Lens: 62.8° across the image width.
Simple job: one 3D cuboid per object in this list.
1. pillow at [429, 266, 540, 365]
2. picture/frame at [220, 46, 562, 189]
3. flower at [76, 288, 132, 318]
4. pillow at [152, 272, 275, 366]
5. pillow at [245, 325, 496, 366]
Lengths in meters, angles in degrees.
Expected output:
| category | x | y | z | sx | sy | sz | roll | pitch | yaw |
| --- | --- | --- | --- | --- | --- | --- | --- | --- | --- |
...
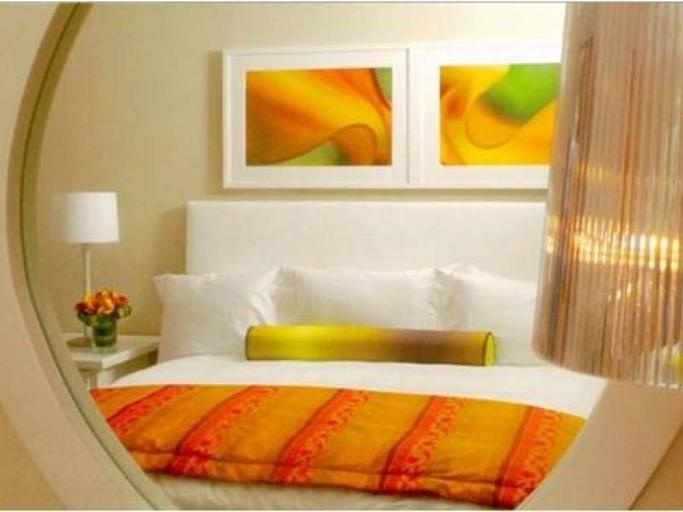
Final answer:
| category | x | y | z | sx | sy | sz | roll | pitch | yaw |
| --- | --- | --- | --- | --- | --- | --- | --- | --- | --- |
| pillow | 0.473 | 0.159 | 1.808 | 0.342 | 0.356 | 0.121 | 6 | -36 | 5 |
| picture/frame | 0.170 | -0.504 | 2.058 | 1.194 | 0.542 | 0.204 | 0 | 2 | 7 |
| flower | -0.728 | 0.127 | 1.700 | 0.109 | 0.070 | 0.108 | 3 | 0 | 8 |
| pillow | -0.412 | 0.213 | 1.848 | 0.285 | 0.208 | 0.102 | -2 | -22 | 2 |
| pillow | 0.073 | 0.267 | 1.684 | 0.725 | 0.105 | 0.062 | 0 | 2 | 4 |
